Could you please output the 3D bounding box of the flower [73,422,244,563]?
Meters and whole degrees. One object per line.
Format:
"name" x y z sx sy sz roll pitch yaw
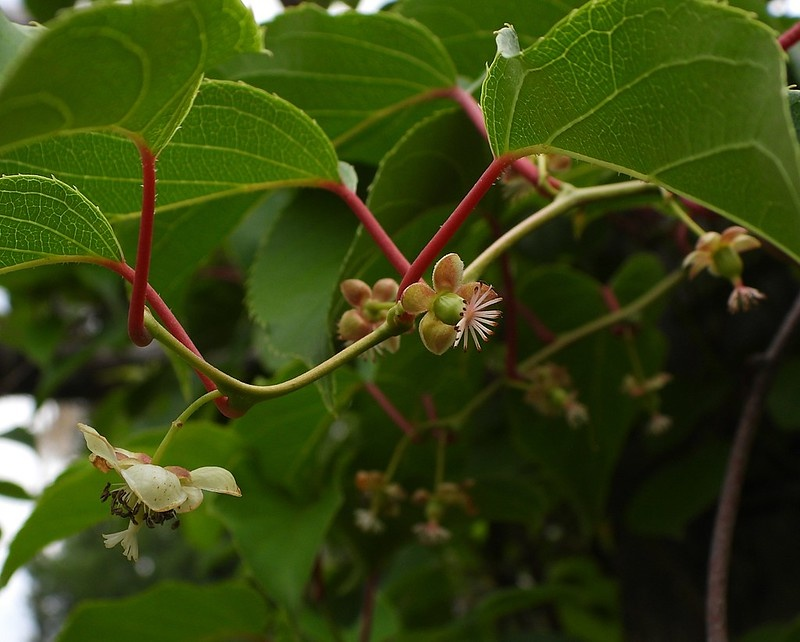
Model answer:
"flower" -0.178 0.107 0.560 0.117 0.076 0.122 12 1 -36
